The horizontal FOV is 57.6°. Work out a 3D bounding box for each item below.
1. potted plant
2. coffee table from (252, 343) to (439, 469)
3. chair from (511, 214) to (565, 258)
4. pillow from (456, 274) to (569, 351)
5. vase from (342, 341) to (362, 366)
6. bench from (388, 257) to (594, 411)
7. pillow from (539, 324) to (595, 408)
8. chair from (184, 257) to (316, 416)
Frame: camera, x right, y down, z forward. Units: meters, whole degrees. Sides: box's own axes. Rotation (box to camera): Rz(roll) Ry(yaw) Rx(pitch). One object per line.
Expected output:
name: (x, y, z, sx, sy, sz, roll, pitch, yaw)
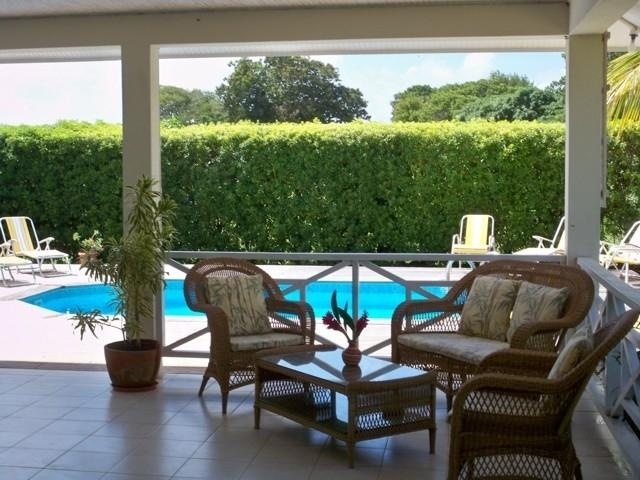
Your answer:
potted plant: (-1.885, 0.275, 5.596, 0.887, 1.778, 1.897, -4, 9, -24)
coffee table: (0.170, 1.084, 4.000, 1.234, 0.544, 0.678, 6, 11, 38)
chair: (3.868, -0.119, 10.281, 0.706, 1.150, 0.661, 1, 1, 13)
pillow: (1.438, 0.539, 4.280, 0.507, 0.363, 0.189, 5, -32, 45)
vase: (0.211, 0.783, 4.063, 0.135, 0.212, 0.148, 1, -3, -8)
bench: (1.280, 0.694, 4.306, 1.150, 1.105, 1.657, 4, -1, -10)
pillow: (1.337, 0.663, 3.130, 0.124, 0.379, 0.348, 17, -6, 19)
chair: (-0.617, 0.737, 4.776, 0.915, 1.288, 1.081, -7, -8, 29)
